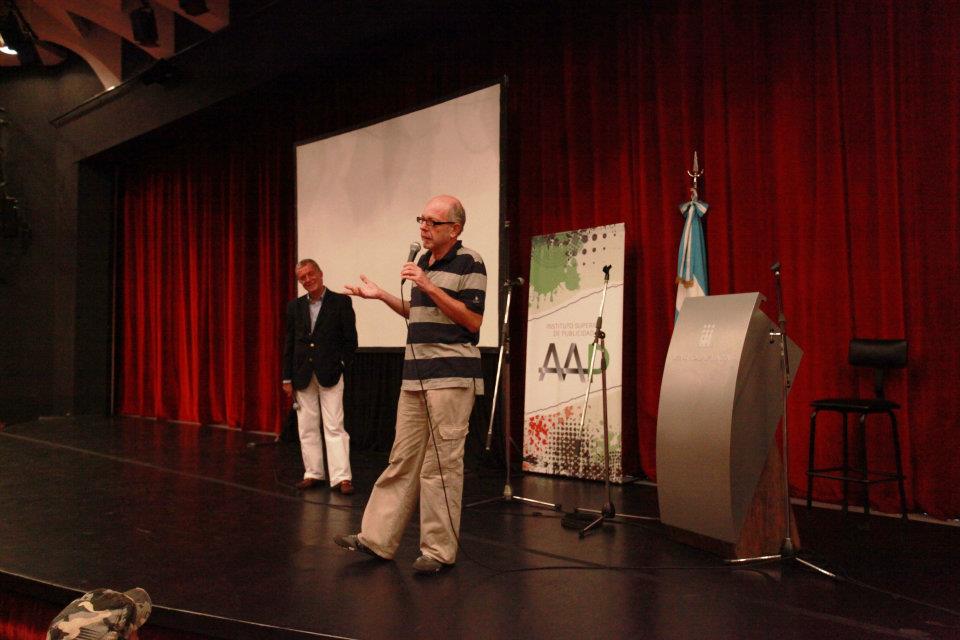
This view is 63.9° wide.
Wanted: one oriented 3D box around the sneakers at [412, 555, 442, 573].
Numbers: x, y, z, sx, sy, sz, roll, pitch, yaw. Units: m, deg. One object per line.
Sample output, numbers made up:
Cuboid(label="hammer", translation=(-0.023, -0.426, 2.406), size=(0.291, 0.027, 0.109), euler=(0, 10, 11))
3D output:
Cuboid(label="sneakers", translation=(-0.343, 1.540, 4.839), size=(0.085, 0.081, 0.155), euler=(5, 4, 36))

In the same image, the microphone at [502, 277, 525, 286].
Cuboid(label="microphone", translation=(0.288, -0.355, 6.948), size=(0.197, 0.058, 0.146), euler=(-1, -3, -38))

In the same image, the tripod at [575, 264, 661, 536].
Cuboid(label="tripod", translation=(1.017, 0.535, 6.180), size=(0.547, 1.926, 1.616), euler=(1, 6, 11))

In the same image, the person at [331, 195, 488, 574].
Cuboid(label="person", translation=(-0.375, 0.391, 4.968), size=(0.798, 2.360, 0.546), euler=(0, 6, 0))

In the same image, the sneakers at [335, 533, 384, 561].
Cuboid(label="sneakers", translation=(-0.784, 1.476, 5.020), size=(0.260, 0.110, 0.091), euler=(26, -1, -4))

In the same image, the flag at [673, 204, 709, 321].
Cuboid(label="flag", translation=(1.845, -0.561, 6.701), size=(0.277, 1.007, 0.285), euler=(1, 6, 16))

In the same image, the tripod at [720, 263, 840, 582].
Cuboid(label="tripod", translation=(1.991, 0.599, 5.038), size=(0.677, 1.934, 0.599), euler=(2, 7, 19))
